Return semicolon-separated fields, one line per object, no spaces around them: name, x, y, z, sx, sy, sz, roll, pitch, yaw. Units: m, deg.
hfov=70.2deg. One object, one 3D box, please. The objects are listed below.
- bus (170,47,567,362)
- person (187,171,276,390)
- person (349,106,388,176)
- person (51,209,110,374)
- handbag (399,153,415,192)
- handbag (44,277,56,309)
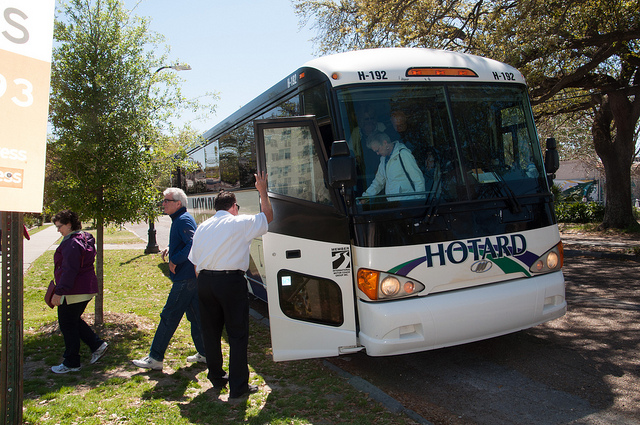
bus;0.158;-0.113;9.223;3.450;3.085;7.080;-6;1;-28
person;-1.291;1.086;6.482;1.111;2.115;0.488;-3;2;-14
person;0.706;-1.056;6.704;0.602;1.040;0.193;-3;2;-31
person;-3.932;1.218;7.310;0.743;2.400;0.746;-2;2;-4
handbag;1.262;-0.558;6.688;0.041;0.569;0.135;-29;8;-28
handbag;-4.291;1.271;7.256;0.084;0.365;0.350;13;14;-36
